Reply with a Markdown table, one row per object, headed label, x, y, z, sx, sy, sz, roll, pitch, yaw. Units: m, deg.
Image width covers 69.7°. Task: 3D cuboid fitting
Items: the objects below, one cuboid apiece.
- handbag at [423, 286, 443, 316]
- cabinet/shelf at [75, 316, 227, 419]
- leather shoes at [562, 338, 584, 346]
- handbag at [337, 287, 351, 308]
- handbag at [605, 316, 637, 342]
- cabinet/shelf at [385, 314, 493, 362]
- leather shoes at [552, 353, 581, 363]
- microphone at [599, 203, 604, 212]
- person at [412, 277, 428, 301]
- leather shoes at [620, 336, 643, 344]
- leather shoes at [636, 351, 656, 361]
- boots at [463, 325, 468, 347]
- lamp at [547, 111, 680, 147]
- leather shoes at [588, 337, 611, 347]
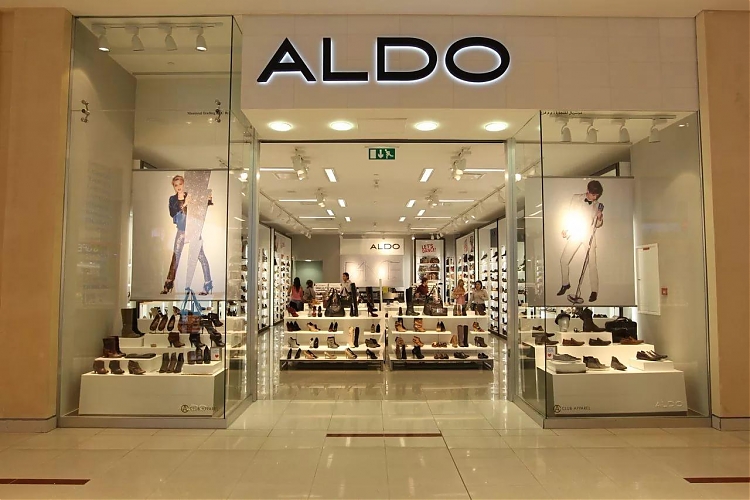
| label | x | y | z | sx | sy | sz | roll | pitch | yaw |
| --- | --- | --- | --- | --- | --- | --- | --- | --- | --- |
| handbag | 1.239 | 1.062 | 11.433 | 0.414 | 0.702 | 0.751 | -3 | -6 | 22 |
| cabinet/shelf | -2.982 | 1.472 | 7.578 | 1.573 | 0.933 | 1.539 | 0 | -4 | -4 |
| leather shoes | 2.666 | 1.249 | 7.316 | 0.306 | 0.106 | 0.099 | 0 | -5 | 3 |
| handbag | -0.653 | 1.034 | 11.725 | 0.444 | 0.432 | 0.308 | -2 | 0 | 1 |
| handbag | 3.348 | 1.090 | 7.452 | 0.380 | 0.316 | 0.175 | -1 | -1 | 2 |
| cabinet/shelf | 1.262 | 1.789 | 10.704 | 1.990 | 0.902 | 0.700 | 0 | 9 | -1 |
| leather shoes | 2.558 | 1.456 | 7.261 | 0.238 | 0.082 | 0.148 | 2 | -5 | 3 |
| microphone | 3.122 | -0.602 | 7.513 | 0.099 | 0.095 | 0.030 | 12 | -10 | -11 |
| person | 0.982 | 0.829 | 11.822 | 0.366 | 0.768 | 0.484 | 0 | 0 | -6 |
| leather shoes | 3.501 | 1.246 | 7.470 | 0.325 | 0.124 | 0.116 | -1 | -10 | 5 |
| leather shoes | 3.671 | 1.456 | 7.409 | 0.303 | 0.104 | 0.099 | 0 | -2 | 9 |
| boots | 1.780 | 1.690 | 10.723 | 0.108 | 0.375 | 0.242 | 1 | 9 | 9 |
| lamp | 3.150 | -1.686 | 7.410 | 1.826 | 0.406 | 0.174 | -1 | 9 | -5 |
| leather shoes | 3.003 | 1.263 | 7.348 | 0.325 | 0.114 | 0.106 | -1 | -5 | 3 |
